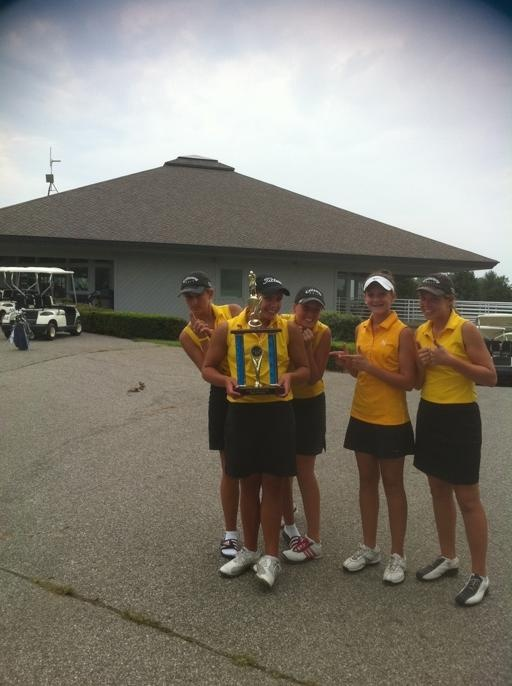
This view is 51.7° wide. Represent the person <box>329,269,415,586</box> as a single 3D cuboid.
[{"bbox_3d":[0.792,0.460,3.225,0.488,1.716,0.517,1,2,37],"label":"person"}]

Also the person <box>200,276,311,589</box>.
[{"bbox_3d":[-0.028,0.458,2.973,0.566,1.716,0.625,-3,-8,27],"label":"person"}]

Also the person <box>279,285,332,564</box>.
[{"bbox_3d":[0.347,0.548,3.359,0.406,1.493,0.486,0,1,12],"label":"person"}]

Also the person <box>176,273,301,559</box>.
[{"bbox_3d":[-0.239,0.490,3.539,0.522,1.849,0.503,-1,3,-25],"label":"person"}]

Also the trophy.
[{"bbox_3d":[-0.002,-0.051,2.954,0.295,0.671,0.205,-2,-2,-4],"label":"trophy"}]

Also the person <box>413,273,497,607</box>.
[{"bbox_3d":[1.051,0.480,2.980,0.453,1.729,0.615,4,-7,-22],"label":"person"}]
